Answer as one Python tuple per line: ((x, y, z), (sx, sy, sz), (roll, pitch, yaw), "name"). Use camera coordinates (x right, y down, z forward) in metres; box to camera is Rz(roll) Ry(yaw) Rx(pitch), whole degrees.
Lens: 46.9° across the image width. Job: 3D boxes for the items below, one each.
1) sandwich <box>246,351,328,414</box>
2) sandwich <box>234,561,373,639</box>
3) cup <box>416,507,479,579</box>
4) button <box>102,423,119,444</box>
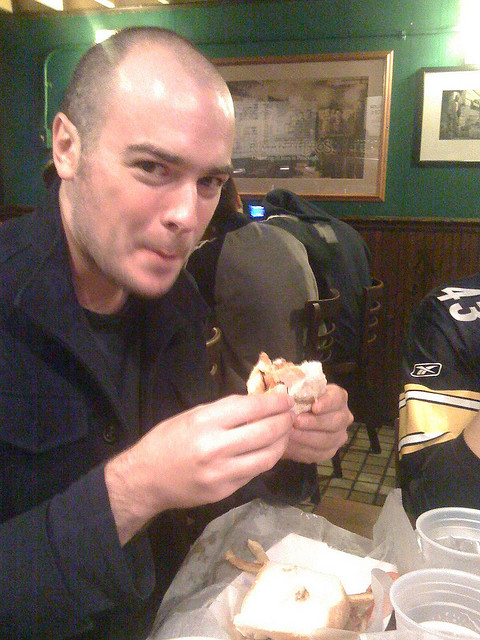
((0.109, 0.136, 1.164), (0.155, 0.077, 0.120), (29, 47, -22), "sandwich")
((0.086, 0.403, 0.788), (0.125, 0.047, 0.098), (1, 23, 8), "sandwich")
((0.321, 0.339, 0.835), (0.099, 0.082, 0.108), (-1, -3, 0), "cup")
((-0.303, 0.266, 1.297), (0.041, 0.056, 0.014), (1, 14, 13), "button")
